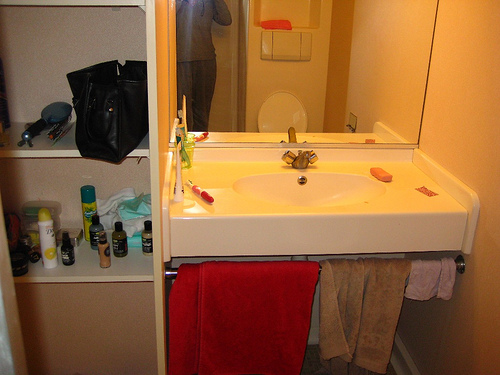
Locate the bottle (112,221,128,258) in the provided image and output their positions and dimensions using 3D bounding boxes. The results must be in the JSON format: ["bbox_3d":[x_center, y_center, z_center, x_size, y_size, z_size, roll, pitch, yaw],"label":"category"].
[{"bbox_3d":[-0.528,0.209,1.773,0.049,0.150,0.077,12,22,37],"label":"bottle"}]

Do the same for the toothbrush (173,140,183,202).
[{"bbox_3d":[-0.284,-0.080,1.712,0.043,0.287,0.046,0,9,-5],"label":"toothbrush"}]

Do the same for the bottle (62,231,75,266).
[{"bbox_3d":[-0.729,0.242,1.710,0.046,0.133,0.036,-11,20,-28],"label":"bottle"}]

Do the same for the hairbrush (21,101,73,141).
[{"bbox_3d":[-0.784,-0.262,1.664,0.114,0.093,0.297,0,20,6],"label":"hairbrush"}]

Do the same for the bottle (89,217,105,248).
[{"bbox_3d":[-0.634,0.187,1.769,0.061,0.178,0.066,4,22,-2],"label":"bottle"}]

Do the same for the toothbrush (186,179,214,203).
[{"bbox_3d":[-0.206,0.016,1.771,0.023,0.024,0.158,-38,39,-13],"label":"toothbrush"}]

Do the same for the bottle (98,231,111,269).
[{"bbox_3d":[-0.593,0.236,1.734,0.051,0.136,0.118,-8,20,-21],"label":"bottle"}]

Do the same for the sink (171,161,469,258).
[{"bbox_3d":[0.277,0.068,1.890,1.189,0.305,0.508,-3,19,-3],"label":"sink"}]

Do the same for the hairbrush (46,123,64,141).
[{"bbox_3d":[-0.748,-0.214,1.641,0.045,0.021,0.065,25,38,0],"label":"hairbrush"}]

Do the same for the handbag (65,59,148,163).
[{"bbox_3d":[-0.523,-0.337,1.667,0.222,0.290,0.429,6,30,-4],"label":"handbag"}]

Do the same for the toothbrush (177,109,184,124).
[{"bbox_3d":[-0.321,-0.330,1.995,0.021,0.063,0.061,-3,19,-3],"label":"toothbrush"}]

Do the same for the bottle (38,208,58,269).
[{"bbox_3d":[-0.799,0.199,1.686,0.058,0.237,0.052,-10,19,-25],"label":"bottle"}]
